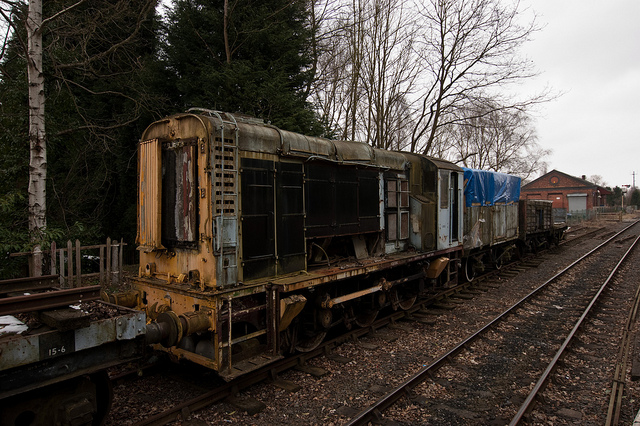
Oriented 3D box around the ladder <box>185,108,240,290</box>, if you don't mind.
[{"bbox_3d":[-2.024,-0.302,9.991,0.584,3.785,0.791,-1,5,-11],"label":"ladder"}]
